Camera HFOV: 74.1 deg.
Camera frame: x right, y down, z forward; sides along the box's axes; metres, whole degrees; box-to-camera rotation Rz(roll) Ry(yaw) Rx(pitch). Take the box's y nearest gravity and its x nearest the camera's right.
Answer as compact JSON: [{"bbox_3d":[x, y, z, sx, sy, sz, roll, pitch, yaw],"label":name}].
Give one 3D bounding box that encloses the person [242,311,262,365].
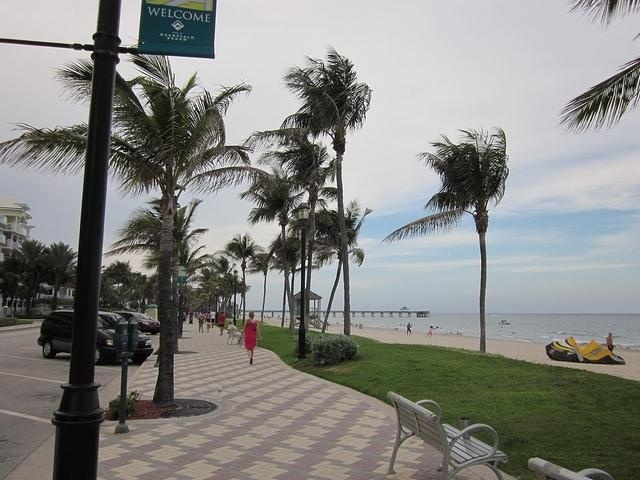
[{"bbox_3d":[-2.780,3.874,16.846,0.635,1.986,0.649,5,-8,-24],"label":"person"}]
